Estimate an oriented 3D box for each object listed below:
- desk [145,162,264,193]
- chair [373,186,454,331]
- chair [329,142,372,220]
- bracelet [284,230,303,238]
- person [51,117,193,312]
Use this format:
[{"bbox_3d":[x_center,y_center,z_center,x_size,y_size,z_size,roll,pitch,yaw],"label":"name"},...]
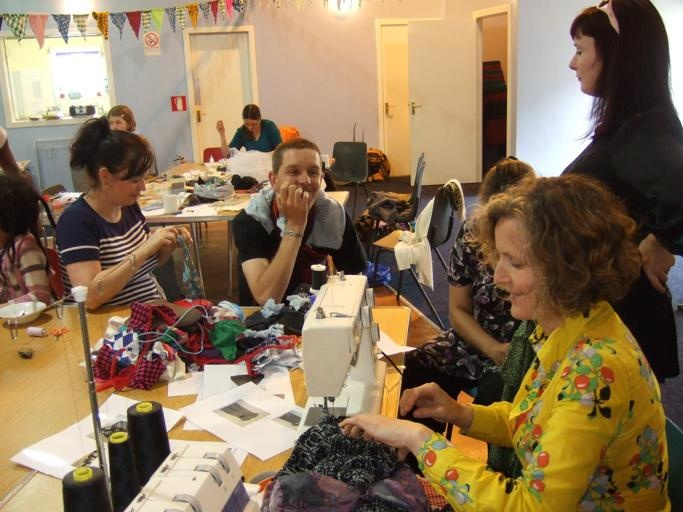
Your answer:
[{"bbox_3d":[-1.237,-0.732,4.841,0.580,0.207,0.870,1,18,0],"label":"desk"},{"bbox_3d":[0.564,-0.052,3.836,0.647,1.016,0.587,7,17,19],"label":"chair"},{"bbox_3d":[0.264,-0.995,6.821,0.672,0.966,0.679,4,13,16],"label":"chair"},{"bbox_3d":[-0.205,-0.098,2.216,0.075,0.038,0.026,-6,14,0],"label":"bracelet"},{"bbox_3d":[-1.043,-0.018,2.469,0.526,1.152,0.541,24,26,30],"label":"person"}]
